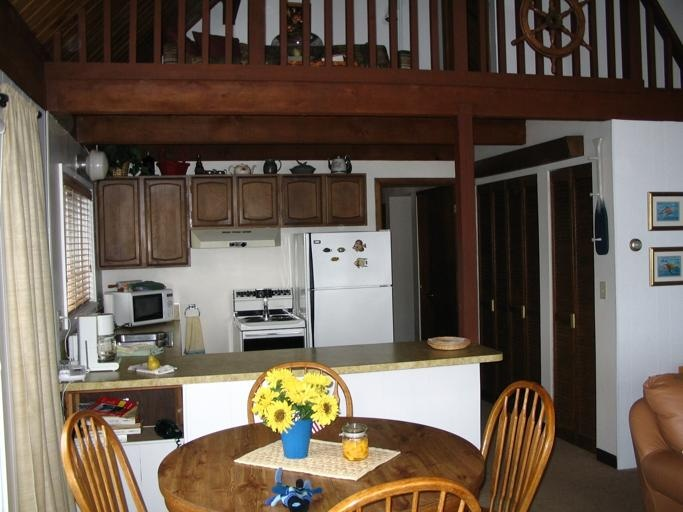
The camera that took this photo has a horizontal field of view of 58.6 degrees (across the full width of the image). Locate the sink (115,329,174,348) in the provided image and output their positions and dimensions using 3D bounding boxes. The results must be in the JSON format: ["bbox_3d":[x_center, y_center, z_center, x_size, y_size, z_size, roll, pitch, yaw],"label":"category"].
[{"bbox_3d":[-1.728,0.737,5.380,0.498,0.140,0.794,-3,-1,-22],"label":"sink"}]

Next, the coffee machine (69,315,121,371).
[{"bbox_3d":[-1.633,0.566,4.000,0.296,0.367,0.327,-2,-2,-25],"label":"coffee machine"}]

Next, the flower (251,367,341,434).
[{"bbox_3d":[-0.219,0.610,2.952,0.326,0.260,0.346,0,6,-4],"label":"flower"}]

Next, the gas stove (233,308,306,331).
[{"bbox_3d":[-0.750,0.650,6.279,0.691,0.124,0.755,-3,-1,-12],"label":"gas stove"}]

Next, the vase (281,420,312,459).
[{"bbox_3d":[-0.223,0.868,2.939,0.185,0.174,0.193,-2,-6,7],"label":"vase"}]

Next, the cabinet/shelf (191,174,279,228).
[{"bbox_3d":[-1.097,-0.553,6.204,0.886,0.609,0.475,-1,2,-9],"label":"cabinet/shelf"}]

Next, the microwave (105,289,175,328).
[{"bbox_3d":[-1.960,0.503,5.927,0.657,0.346,0.376,-3,-1,-23],"label":"microwave"}]

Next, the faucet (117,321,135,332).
[{"bbox_3d":[-2.074,0.677,5.817,0.098,0.070,0.103,0,2,-22],"label":"faucet"}]

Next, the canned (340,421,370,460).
[{"bbox_3d":[0.070,0.882,2.907,0.112,0.162,0.154,-2,5,8],"label":"canned"}]

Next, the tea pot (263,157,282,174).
[{"bbox_3d":[-0.695,-0.927,6.237,0.192,0.192,0.150,-1,5,-18],"label":"tea pot"}]

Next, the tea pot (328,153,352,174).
[{"bbox_3d":[-0.004,-0.968,6.325,0.238,0.187,0.176,-1,3,-20],"label":"tea pot"}]

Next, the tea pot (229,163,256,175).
[{"bbox_3d":[-1.013,-0.885,6.208,0.242,0.151,0.173,0,10,6],"label":"tea pot"}]

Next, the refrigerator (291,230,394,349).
[{"bbox_3d":[0.058,0.088,6.572,1.004,1.737,1.048,-9,43,-7],"label":"refrigerator"}]

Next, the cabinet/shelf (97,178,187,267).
[{"bbox_3d":[-1.987,-0.363,5.951,0.757,0.810,0.278,-1,2,-10],"label":"cabinet/shelf"}]

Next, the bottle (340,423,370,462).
[{"bbox_3d":[0.070,0.879,2.904,0.108,0.163,0.149,-3,11,5],"label":"bottle"}]
